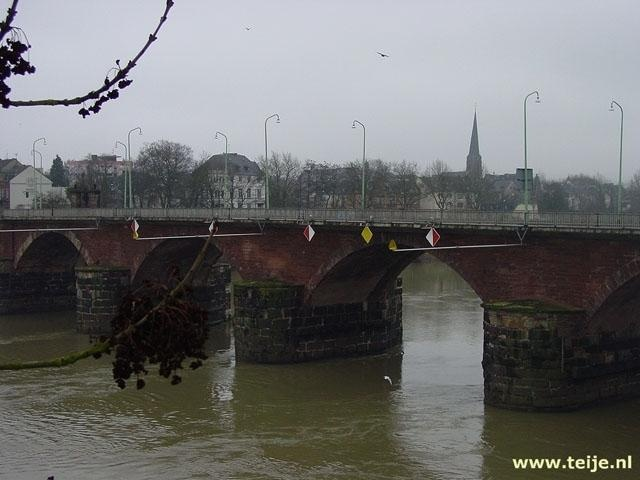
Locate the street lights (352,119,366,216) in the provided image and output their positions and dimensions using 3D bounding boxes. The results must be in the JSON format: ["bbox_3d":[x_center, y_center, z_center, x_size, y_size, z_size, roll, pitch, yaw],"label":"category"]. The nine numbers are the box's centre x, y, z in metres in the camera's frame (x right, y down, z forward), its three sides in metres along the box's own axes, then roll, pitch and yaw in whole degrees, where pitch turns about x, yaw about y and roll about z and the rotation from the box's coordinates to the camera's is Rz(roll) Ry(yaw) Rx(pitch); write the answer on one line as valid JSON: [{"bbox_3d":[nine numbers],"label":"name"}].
[{"bbox_3d":[2.232,-4.385,59.279,0.902,4.810,0.214,1,-5,-23],"label":"street lights"}]
